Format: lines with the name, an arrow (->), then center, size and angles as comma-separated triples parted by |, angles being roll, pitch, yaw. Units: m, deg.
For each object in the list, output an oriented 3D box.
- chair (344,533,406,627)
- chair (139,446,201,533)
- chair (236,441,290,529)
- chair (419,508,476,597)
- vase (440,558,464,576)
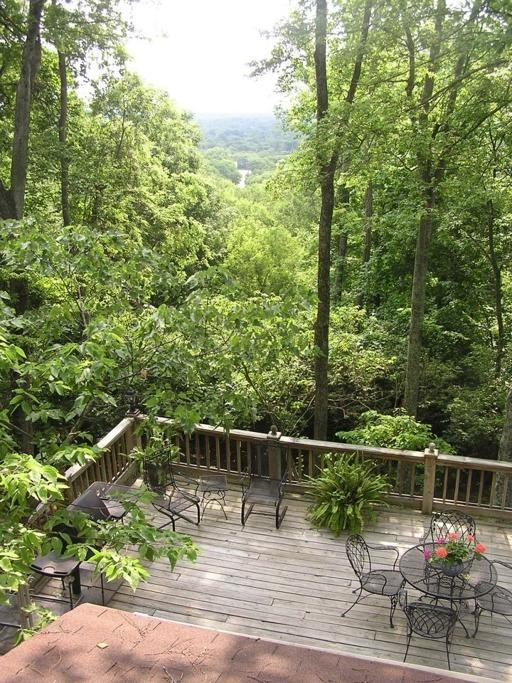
chair -> 1.187, 2.326, 5.086 | 0.611, 0.718, 0.507 | 2, 9, 41
chair -> -1.086, 2.034, 6.766 | 0.750, 1.040, 0.733 | 6, 15, 16
chair -> 0.097, 1.901, 6.686 | 0.613, 1.006, 0.689 | 0, 15, -1
chair -> 2.284, 2.383, 5.982 | 0.740, 0.959, 0.708 | -1, -6, 16
vase -> 1.808, 2.043, 4.709 | 0.176, 0.137, 0.191 | -1, -6, 8
